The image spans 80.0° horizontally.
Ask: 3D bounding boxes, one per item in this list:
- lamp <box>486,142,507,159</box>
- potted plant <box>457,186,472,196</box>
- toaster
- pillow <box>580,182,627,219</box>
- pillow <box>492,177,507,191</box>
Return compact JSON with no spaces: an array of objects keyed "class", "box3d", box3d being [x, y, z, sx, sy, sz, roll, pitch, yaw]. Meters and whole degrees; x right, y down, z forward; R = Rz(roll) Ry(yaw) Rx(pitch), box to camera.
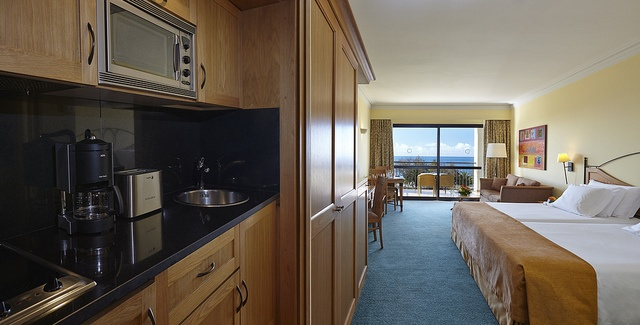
[{"class":"lamp","box3d":[4.617,-0.326,10.022,0.432,0.287,0.431,5,13,36]},{"class":"potted plant","box3d":[3.636,0.696,9.557,0.284,0.176,0.268,0,3,13]},{"class":"toaster","box3d":[-1.912,0.326,4.112,0.450,0.467,0.220,-9,15,-26]},{"class":"pillow","box3d":[4.659,0.575,6.264,0.168,0.496,0.554,28,-1,-17]},{"class":"pillow","box3d":[4.602,0.541,9.770,0.129,0.292,0.308,28,-8,-28]}]
